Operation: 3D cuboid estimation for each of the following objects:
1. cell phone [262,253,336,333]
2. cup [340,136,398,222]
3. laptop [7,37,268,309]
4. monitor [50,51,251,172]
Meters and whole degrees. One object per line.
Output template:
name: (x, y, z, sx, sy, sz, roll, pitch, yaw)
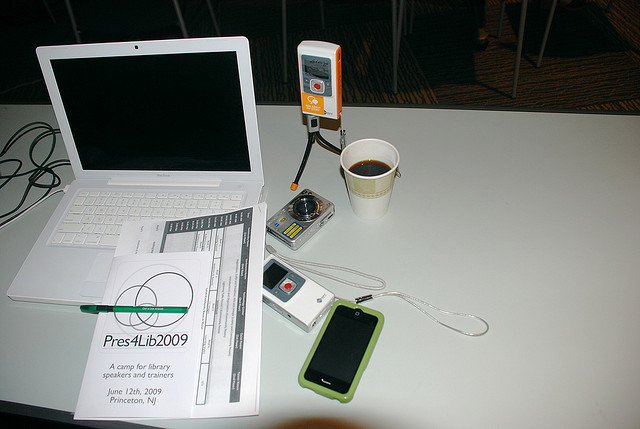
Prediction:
cell phone: (-0.057, 0.183, 1.018, 0.192, 0.049, 0.105, 36, 68, 16)
cup: (0.125, -0.101, 1.116, 0.159, 0.194, 0.167, -3, 32, 2)
laptop: (-0.429, -0.095, 1.023, 0.529, 0.436, 0.492, 4, 43, 11)
monitor: (-0.407, -0.251, 1.090, 0.510, 0.322, 0.012, -1, 23, 7)
